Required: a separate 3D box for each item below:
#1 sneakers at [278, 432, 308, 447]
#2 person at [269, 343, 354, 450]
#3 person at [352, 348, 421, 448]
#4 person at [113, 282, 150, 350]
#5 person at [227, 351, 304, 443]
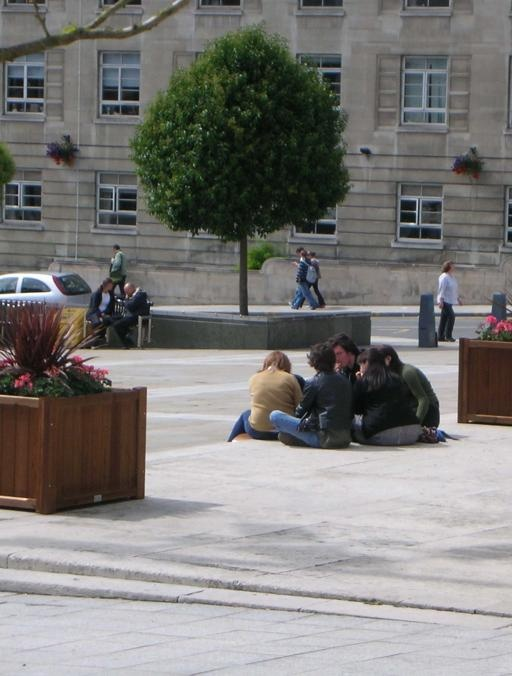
[{"bbox_3d":[0.351,0.977,19.396,0.158,0.076,0.149,11,-7,18],"label":"sneakers"},{"bbox_3d":[0.580,0.561,19.243,0.630,1.022,0.746,3,-1,40],"label":"person"},{"bbox_3d":[1.219,0.572,19.237,0.623,0.915,0.584,0,2,3],"label":"person"},{"bbox_3d":[-1.902,-0.309,32.310,0.561,0.997,0.662,0,2,7],"label":"person"},{"bbox_3d":[0.118,0.545,19.867,0.690,1.109,0.803,1,7,-3],"label":"person"}]
